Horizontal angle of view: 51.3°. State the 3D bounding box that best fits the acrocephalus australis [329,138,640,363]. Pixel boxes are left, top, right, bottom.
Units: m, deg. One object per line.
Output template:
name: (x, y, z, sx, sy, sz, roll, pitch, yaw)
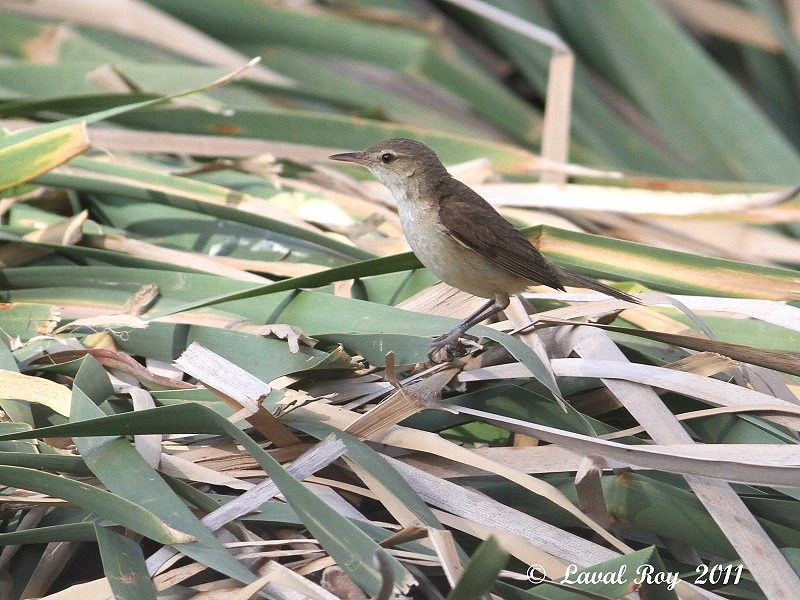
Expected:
acrocephalus australis: (0.168, -0.231, 2.531, 0.356, 0.571, 0.528, -20, 18, 1)
